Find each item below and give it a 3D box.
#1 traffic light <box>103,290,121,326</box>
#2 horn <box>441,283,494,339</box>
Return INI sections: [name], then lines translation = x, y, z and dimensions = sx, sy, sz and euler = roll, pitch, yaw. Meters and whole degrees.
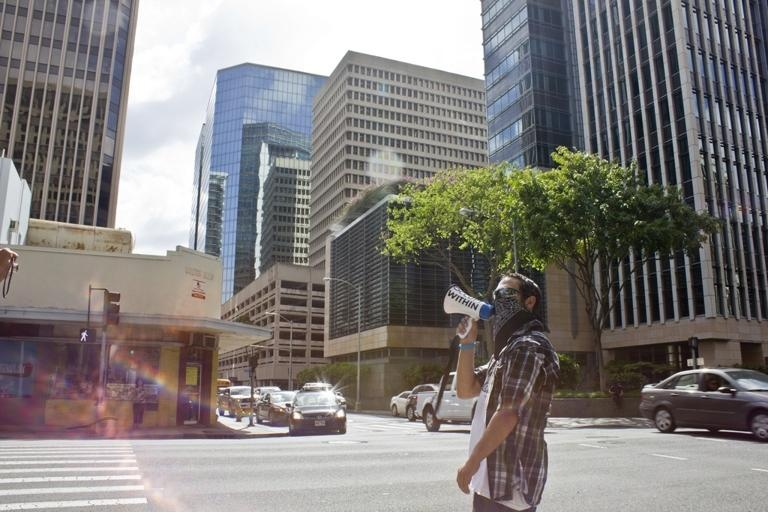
[traffic light]
translation = -11.092, 2.122, 25.504
dimensions = 0.543, 1.362, 0.968
euler = 8, -14, -28
[horn]
translation = 1.405, 0.839, 10.654
dimensions = 0.790, 0.452, 0.550
euler = 21, -55, -4
